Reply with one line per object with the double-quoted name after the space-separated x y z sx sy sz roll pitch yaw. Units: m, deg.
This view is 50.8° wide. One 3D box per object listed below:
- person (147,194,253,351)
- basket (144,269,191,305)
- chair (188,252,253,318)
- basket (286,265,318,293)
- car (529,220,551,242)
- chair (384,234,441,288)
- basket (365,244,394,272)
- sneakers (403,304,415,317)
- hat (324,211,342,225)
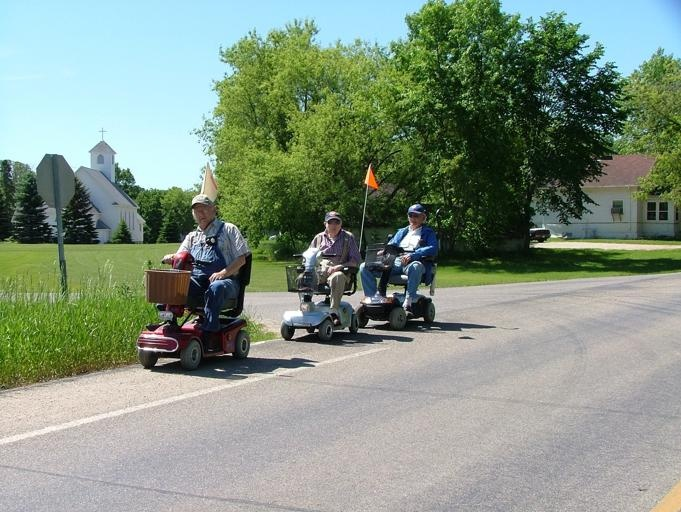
-1.821 0.185 9.831 0.898 2.014 0.899 3 6 24 "person"
-2.187 0.408 9.216 0.374 0.346 0.522 -1 -9 5 "basket"
-1.589 0.342 10.216 0.773 0.938 0.646 0 -10 30 "chair"
-0.635 0.357 11.560 0.354 0.341 0.476 2 6 22 "basket"
18.020 -2.166 64.754 1.577 1.403 7.666 2 5 17 "car"
1.242 -0.001 13.338 0.916 1.109 0.894 -6 -12 40 "chair"
0.689 0.023 12.897 0.548 0.479 0.356 2 6 16 "basket"
1.221 0.994 12.957 0.133 0.272 0.421 3 6 26 "sneakers"
-0.124 -0.687 12.166 0.218 0.192 0.337 1 -10 -7 "hat"
